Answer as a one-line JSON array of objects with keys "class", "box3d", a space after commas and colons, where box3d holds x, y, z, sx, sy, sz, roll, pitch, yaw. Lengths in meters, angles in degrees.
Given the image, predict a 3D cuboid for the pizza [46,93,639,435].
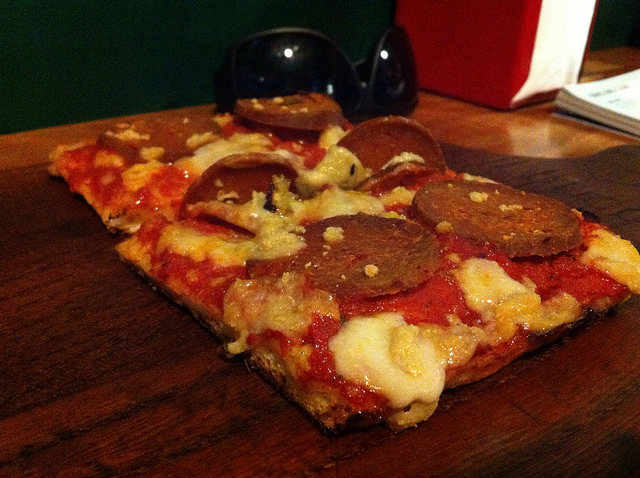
[{"class": "pizza", "box3d": [-0.131, -0.083, 1.465, 0.843, 0.165, 1.141, -20, 32, -37]}]
